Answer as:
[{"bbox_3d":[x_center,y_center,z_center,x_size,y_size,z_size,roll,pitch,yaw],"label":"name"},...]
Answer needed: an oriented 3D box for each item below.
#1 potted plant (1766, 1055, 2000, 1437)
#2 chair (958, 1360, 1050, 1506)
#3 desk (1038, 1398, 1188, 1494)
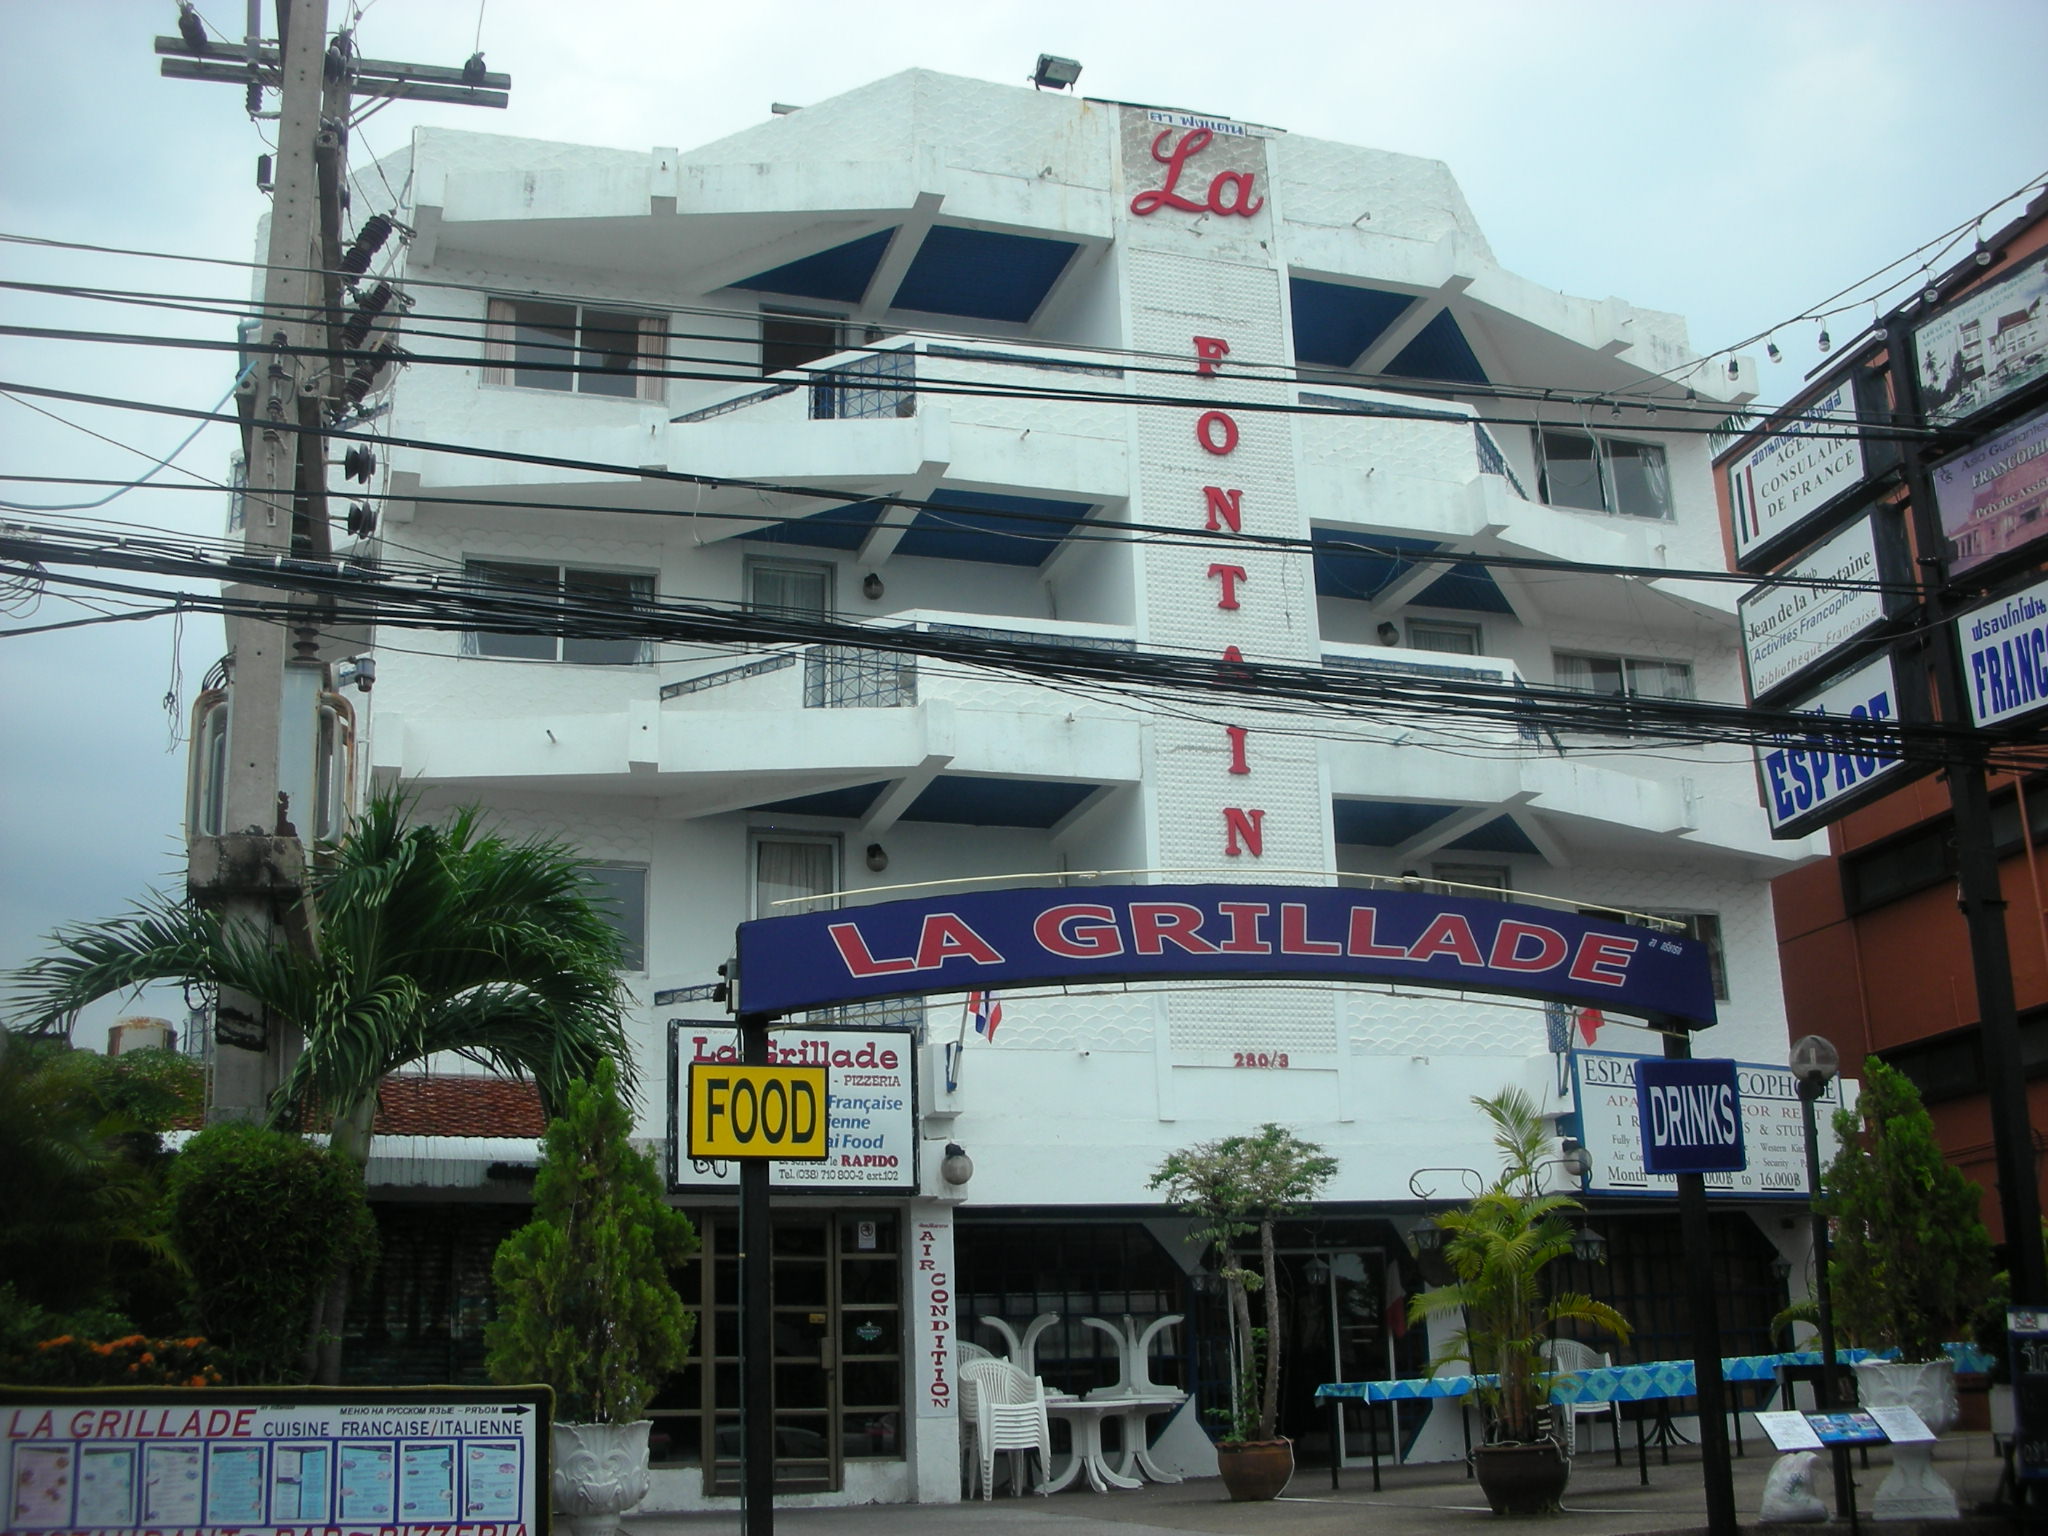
[{"bbox_3d":[9.349,4.713,24.863,1.625,3.125,0.711,-9,-19,20],"label":"potted plant"},{"bbox_3d":[-0.239,7.955,28.237,1.037,1.659,0.994,-1,-18,-3],"label":"chair"},{"bbox_3d":[1.142,8.374,28.909,1.275,1.039,2.088,10,-22,-31],"label":"desk"}]
